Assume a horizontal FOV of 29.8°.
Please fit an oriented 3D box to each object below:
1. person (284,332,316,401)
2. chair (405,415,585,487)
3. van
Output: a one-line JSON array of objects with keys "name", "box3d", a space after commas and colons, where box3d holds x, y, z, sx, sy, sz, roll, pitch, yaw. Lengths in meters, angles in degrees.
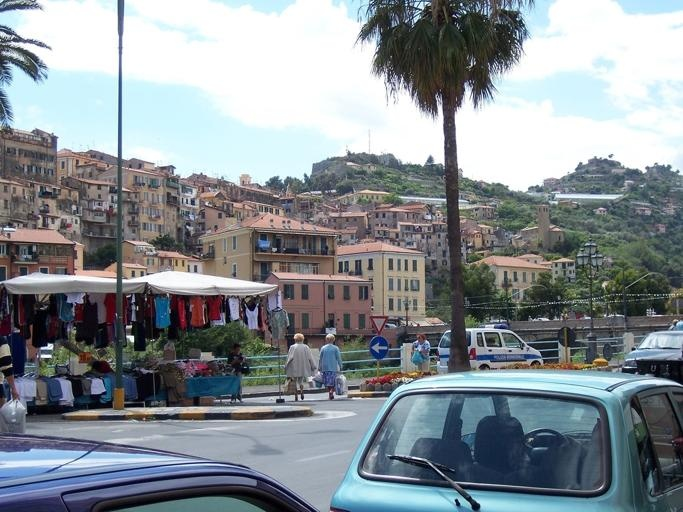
[{"name": "person", "box3d": [-1.412, 3.763, 43.971, 0.913, 2.307, 1.127, 0, -1, -29]}, {"name": "chair", "box3d": [3.248, 4.380, 27.471, 3.134, 1.819, 2.322, 3, -12, -45]}, {"name": "van", "box3d": [6.022, 3.846, 50.361, 3.645, 1.778, 2.093, -4, 2, -33]}]
